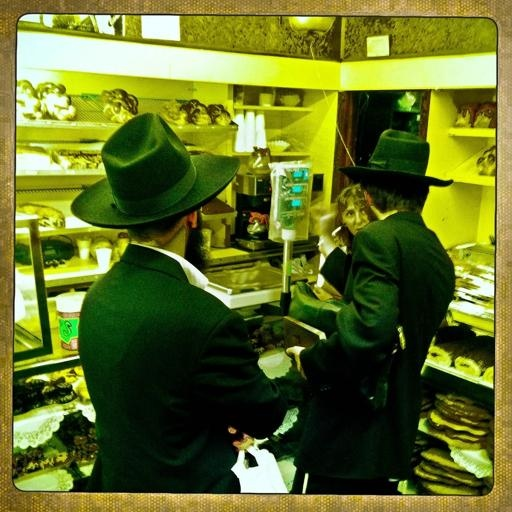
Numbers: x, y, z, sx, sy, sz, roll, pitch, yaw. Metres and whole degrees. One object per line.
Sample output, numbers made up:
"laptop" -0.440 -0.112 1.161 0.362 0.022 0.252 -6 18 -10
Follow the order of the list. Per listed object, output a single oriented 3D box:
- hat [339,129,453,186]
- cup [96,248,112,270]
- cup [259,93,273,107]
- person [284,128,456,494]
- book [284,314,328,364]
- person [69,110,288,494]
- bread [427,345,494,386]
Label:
"hat" 0.429 -0.298 1.547 0.291 0.118 0.200 17 -2 10
"cup" -0.578 0.008 1.862 0.083 0.080 0.075 2 7 1
"cup" 0.051 -0.832 2.610 0.062 0.052 0.075 -2 5 -13
"person" 0.317 0.205 1.497 0.520 1.158 0.655 4 15 19
"book" 0.139 0.268 1.615 0.127 0.168 0.043 27 38 29
"person" -0.185 0.116 1.149 0.509 0.880 0.364 0 15 2
"bread" 0.713 0.373 1.685 0.155 0.051 0.152 12 14 41
